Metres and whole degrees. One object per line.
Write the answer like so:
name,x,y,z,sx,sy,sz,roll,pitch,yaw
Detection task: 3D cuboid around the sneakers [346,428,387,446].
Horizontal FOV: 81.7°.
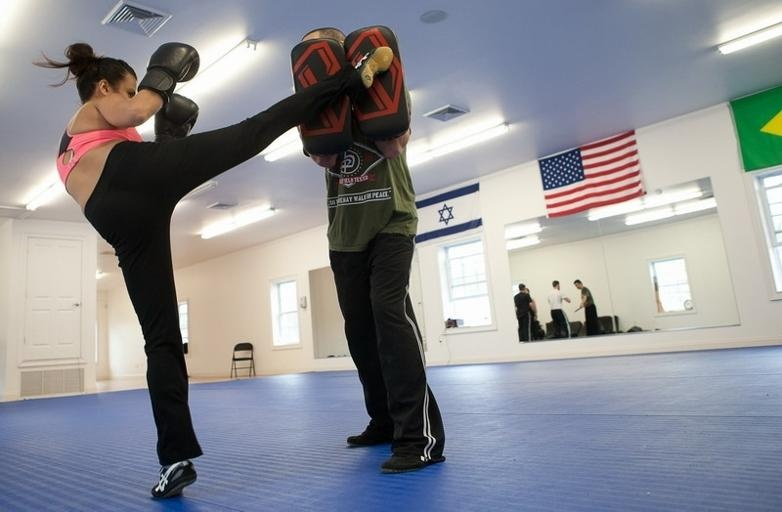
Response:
sneakers,-0.123,1.043,2.633,0.265,0.102,0.089,0,-9,7

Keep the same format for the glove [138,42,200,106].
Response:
glove,-1.065,-0.955,2.279,0.267,0.157,0.353,-37,7,-8

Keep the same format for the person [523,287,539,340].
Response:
person,2.752,1.147,8.934,0.256,1.039,0.085,-9,-9,20

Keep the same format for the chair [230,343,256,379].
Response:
chair,-4.428,3.103,13.692,0.621,0.894,0.593,0,-3,-13

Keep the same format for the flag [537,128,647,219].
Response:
flag,3.755,-1.533,8.356,1.455,0.997,0.081,-16,-9,29

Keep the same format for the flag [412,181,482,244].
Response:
flag,1.262,-0.923,9.592,1.453,0.838,0.108,-16,-20,37

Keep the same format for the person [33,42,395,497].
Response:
person,-0.886,-0.018,2.041,1.239,2.169,0.315,-8,-9,14

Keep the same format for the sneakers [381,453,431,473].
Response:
sneakers,0.067,0.976,2.148,0.154,0.059,0.083,7,-17,-21
